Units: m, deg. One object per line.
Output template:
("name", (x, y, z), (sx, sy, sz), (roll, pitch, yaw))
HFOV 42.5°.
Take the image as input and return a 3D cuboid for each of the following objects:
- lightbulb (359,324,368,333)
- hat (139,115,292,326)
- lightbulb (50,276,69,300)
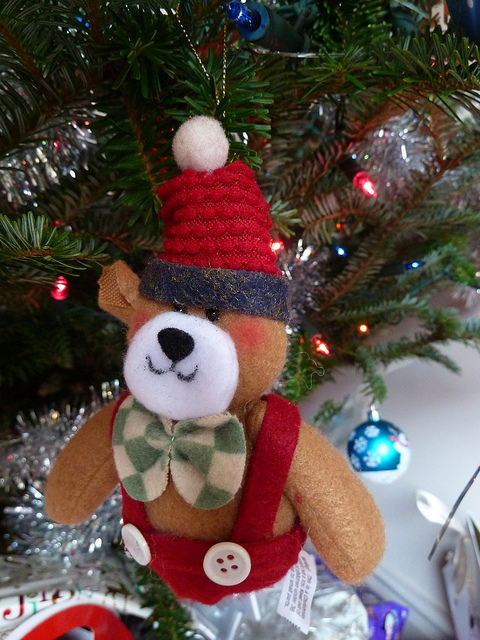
("lightbulb", (0.180, 0.012, 0.905), (0.010, 0.005, 0.010), (-1, 94, 25))
("hat", (-0.010, -0.099, 0.644), (0.172, 0.124, 0.180), (15, 110, 10))
("lightbulb", (-0.221, -0.038, 0.764), (0.030, 0.030, 0.027), (-11, 92, -23))
